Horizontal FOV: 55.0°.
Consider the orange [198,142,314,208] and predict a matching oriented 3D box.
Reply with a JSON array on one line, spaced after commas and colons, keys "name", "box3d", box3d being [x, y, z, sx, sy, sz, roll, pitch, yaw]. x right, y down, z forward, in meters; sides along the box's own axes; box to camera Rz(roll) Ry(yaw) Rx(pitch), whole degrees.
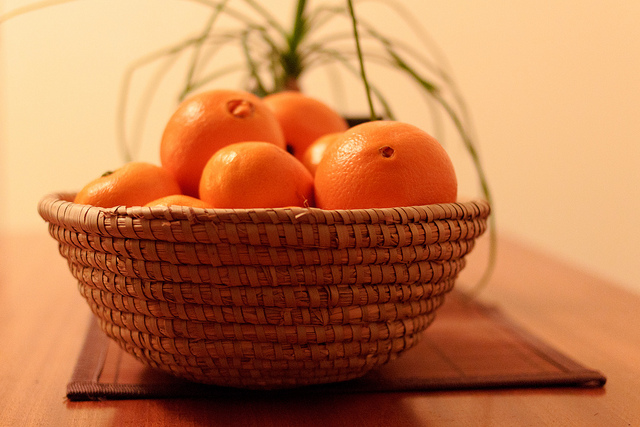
[{"name": "orange", "box3d": [-0.077, -0.039, 0.746, 0.109, 0.083, 0.085, 1, -4, -24]}]

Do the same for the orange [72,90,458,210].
[{"name": "orange", "box3d": [-0.060, -0.060, 0.753, 0.269, 0.108, 0.276, -2, 1, 44]}]

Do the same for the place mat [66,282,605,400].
[{"name": "place mat", "box3d": [0.058, 0.219, 1.130, 0.765, 0.027, 0.853, 2, -2, 16]}]

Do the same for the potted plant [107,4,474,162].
[{"name": "potted plant", "box3d": [-0.084, -0.277, 1.225, 0.561, 0.303, 0.538, 0, 3, -4]}]
